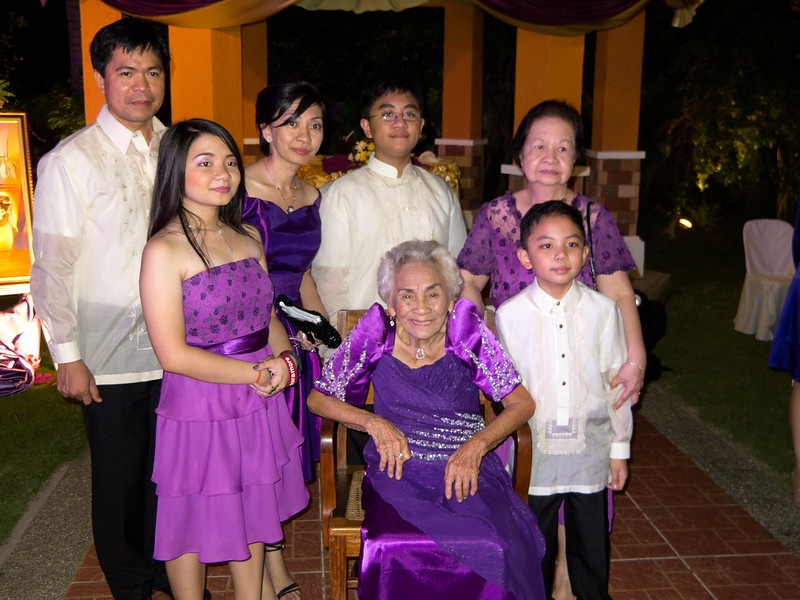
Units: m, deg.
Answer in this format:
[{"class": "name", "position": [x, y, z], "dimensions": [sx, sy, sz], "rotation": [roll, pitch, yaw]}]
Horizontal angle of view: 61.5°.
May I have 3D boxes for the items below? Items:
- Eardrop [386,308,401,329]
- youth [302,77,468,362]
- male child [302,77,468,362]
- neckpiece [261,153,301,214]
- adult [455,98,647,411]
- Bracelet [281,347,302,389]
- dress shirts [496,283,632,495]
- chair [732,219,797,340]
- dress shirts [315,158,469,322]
[{"class": "Eardrop", "position": [-0.030, 0.098, 3.312], "dimensions": [0.030, 0.092, 0.067], "rotation": [-14, 37, -5]}, {"class": "youth", "position": [0.008, -0.152, 4.179], "dimensions": [0.970, 2.322, 0.638], "rotation": [-1, -2, -11]}, {"class": "male child", "position": [0.017, -0.190, 4.191], "dimensions": [0.964, 2.281, 0.628], "rotation": [-2, 3, -10]}, {"class": "neckpiece", "position": [-0.669, -0.659, 3.824], "dimensions": [0.042, 0.303, 0.204], "rotation": [-8, 5, 42]}, {"class": "adult", "position": [0.832, 0.146, 3.677], "dimensions": [0.922, 2.343, 0.928], "rotation": [-2, 22, 9]}, {"class": "Bracelet", "position": [-0.518, 0.332, 3.186], "dimensions": [0.070, 0.155, 0.111], "rotation": [-3, -16, -16]}, {"class": "dress shirts", "position": [0.805, 0.424, 3.394], "dimensions": [0.662, 1.179, 0.372], "rotation": [-4, 21, 9]}, {"class": "chair", "position": [4.502, -0.252, 8.297], "dimensions": [0.590, 1.413, 0.756], "rotation": [7, 15, 27]}, {"class": "dress shirts", "position": [-0.066, -0.319, 3.819], "dimensions": [0.789, 0.976, 0.453], "rotation": [-7, 14, -27]}]
